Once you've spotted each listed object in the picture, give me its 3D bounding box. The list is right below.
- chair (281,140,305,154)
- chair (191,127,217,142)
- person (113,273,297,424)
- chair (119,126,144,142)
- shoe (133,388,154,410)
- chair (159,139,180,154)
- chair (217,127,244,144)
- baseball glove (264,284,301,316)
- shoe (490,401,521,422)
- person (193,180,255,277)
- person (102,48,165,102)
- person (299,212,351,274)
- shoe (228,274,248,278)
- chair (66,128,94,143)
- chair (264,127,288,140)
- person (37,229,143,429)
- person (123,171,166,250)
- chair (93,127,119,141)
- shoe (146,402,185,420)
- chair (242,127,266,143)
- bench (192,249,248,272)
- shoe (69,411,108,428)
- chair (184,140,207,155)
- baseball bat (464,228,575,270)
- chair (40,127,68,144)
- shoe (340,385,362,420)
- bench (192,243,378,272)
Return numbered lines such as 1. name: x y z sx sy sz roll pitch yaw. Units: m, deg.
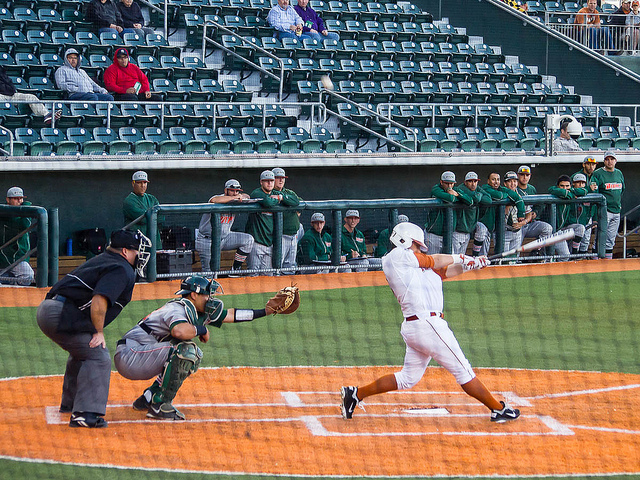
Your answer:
1. chair: -0.508 -1.691 23.530 0.301 0.313 0.326 0 12 -10
2. chair: -2.085 -1.909 23.220 0.371 0.194 0.310 0 -1 -28
3. person: -1.279 1.212 14.990 2.294 1.431 1.175 1 1 -15
4. chair: -3.308 -1.837 22.642 0.382 0.325 0.306 -3 3 -28
5. shoe: -2.026 1.805 14.761 0.114 0.297 0.386 -4 7 -42
6. chair: -2.644 -1.635 22.593 0.299 0.230 0.116 -6 22 -30
7. chair: -1.655 -1.894 23.461 0.380 0.212 0.367 -1 4 -30
8. baseball glove: -0.445 0.712 14.990 0.317 0.420 0.137 40 5 -11
9. shoe: 2.069 1.950 14.667 0.401 0.186 0.154 -2 9 -9
10. person: -1.434 -0.178 20.227 0.762 1.477 0.791 3 6 25
11. person: -3.305 -2.847 23.154 1.099 1.097 0.806 9 16 32
12. person: 0.079 0.160 20.589 0.890 1.150 0.756 3 7 30
13. shoe: -1.283 0.546 20.231 0.285 0.099 0.081 0 1 6
14. chair: -4.136 -1.762 22.252 0.375 0.357 0.320 -1 0 -34
15. chair: -0.842 -1.988 23.946 0.341 0.291 0.272 0 -5 -31
16. person: -2.550 0.989 14.429 1.047 2.210 0.479 2 6 12
17. person: -2.752 -0.624 19.930 0.533 0.862 0.531 0 5 -9
18. chair: -3.690 -1.847 22.388 0.439 0.217 0.142 -1 5 -16
19. shoe: -1.710 1.937 14.639 0.482 0.178 0.159 2 -1 2
20. chair: -1.230 -1.935 23.702 0.396 0.203 0.346 -2 2 -25
21. bench: -1.482 0.302 20.318 0.641 0.344 0.131 2 -6 -19
22. shoe: -2.575 1.988 14.371 0.425 0.219 0.167 0 5 -5
23. chair: -2.191 -1.639 22.780 0.277 0.304 0.299 -1 25 -12
24. baseball bat: 3.048 0.123 20.376 1.451 0.182 0.180 -22 -42 25
25. chair: -4.520 -1.789 21.981 0.386 0.318 0.322 -1 3 -27
26. shoe: 0.341 1.857 14.777 0.239 0.381 0.177 0 5 0
27. bench: -0.695 0.267 20.405 2.327 0.279 0.439 -1 5 -16
